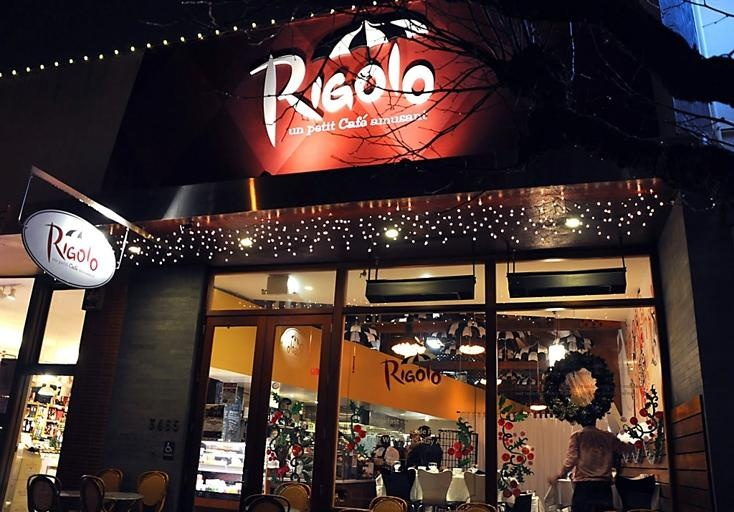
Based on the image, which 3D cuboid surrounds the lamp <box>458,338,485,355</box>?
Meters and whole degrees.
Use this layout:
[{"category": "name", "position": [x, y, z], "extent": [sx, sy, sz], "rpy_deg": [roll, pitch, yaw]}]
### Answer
[{"category": "lamp", "position": [1.466, 1.243, 7.949], "extent": [0.253, 0.275, 0.240], "rpy_deg": [0, -6, 24]}]

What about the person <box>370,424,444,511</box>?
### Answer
[{"category": "person", "position": [0.686, 3.009, 8.099], "extent": [0.931, 1.055, 0.760], "rpy_deg": [-4, -22, 24]}]
